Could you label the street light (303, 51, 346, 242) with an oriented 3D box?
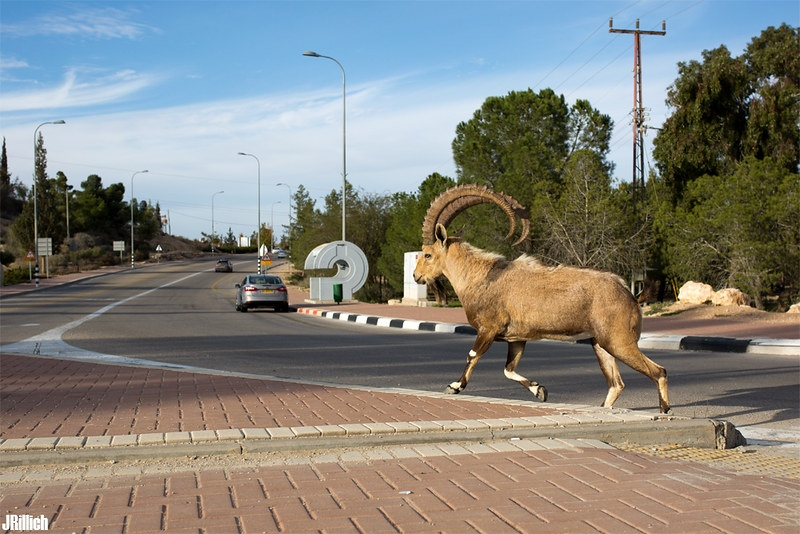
[{"bbox_3d":[-3.676,-3.131,38.441,2.713,9.737,1.698,1,0,-32],"label":"street light"}]
